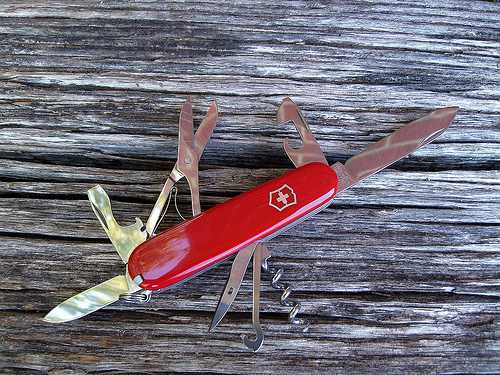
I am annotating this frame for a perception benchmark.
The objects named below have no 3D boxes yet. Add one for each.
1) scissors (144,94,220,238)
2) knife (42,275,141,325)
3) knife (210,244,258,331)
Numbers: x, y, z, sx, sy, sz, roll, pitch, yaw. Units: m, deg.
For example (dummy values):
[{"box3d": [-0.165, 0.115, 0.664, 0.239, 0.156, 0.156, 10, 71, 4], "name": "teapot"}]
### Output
[{"box3d": [-0.224, -0.067, 2.400, 0.378, 0.430, 0.350, -10, 27, -25], "name": "scissors"}, {"box3d": [-0.559, 0.387, 2.385, 0.353, 0.104, 0.191, -25, -9, -5], "name": "knife"}, {"box3d": [-0.063, 0.333, 2.341, 0.047, 0.318, 0.075, 23, -12, 4], "name": "knife"}]
